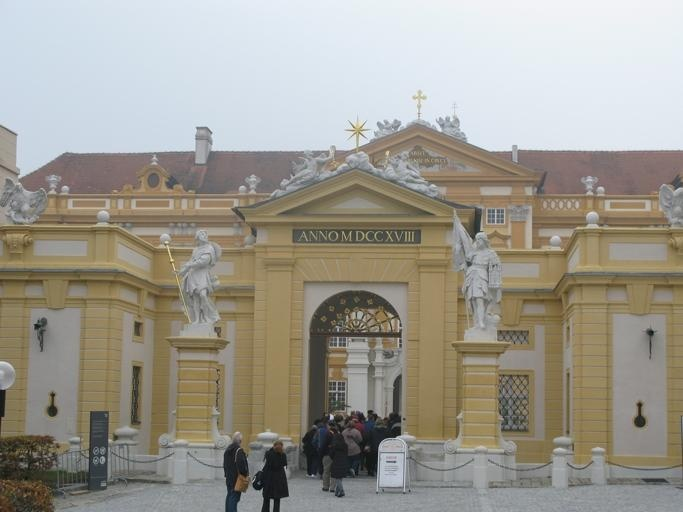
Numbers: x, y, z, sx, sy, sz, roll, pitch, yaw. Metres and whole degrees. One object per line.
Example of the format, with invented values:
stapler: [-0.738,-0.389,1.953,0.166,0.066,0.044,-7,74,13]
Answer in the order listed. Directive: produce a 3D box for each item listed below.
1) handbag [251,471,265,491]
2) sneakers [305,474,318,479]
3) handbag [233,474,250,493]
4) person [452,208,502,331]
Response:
handbag: [-1.979,5.315,31.196,0.256,0.447,0.646,1,-11,-3]
sneakers: [-0.867,6.472,38.519,0.363,0.138,0.124,-7,-11,35]
handbag: [-2.340,5.380,31.081,0.355,0.402,0.273,2,-12,-5]
person: [3.890,0.429,37.888,1.420,3.573,0.878,-4,-13,20]
